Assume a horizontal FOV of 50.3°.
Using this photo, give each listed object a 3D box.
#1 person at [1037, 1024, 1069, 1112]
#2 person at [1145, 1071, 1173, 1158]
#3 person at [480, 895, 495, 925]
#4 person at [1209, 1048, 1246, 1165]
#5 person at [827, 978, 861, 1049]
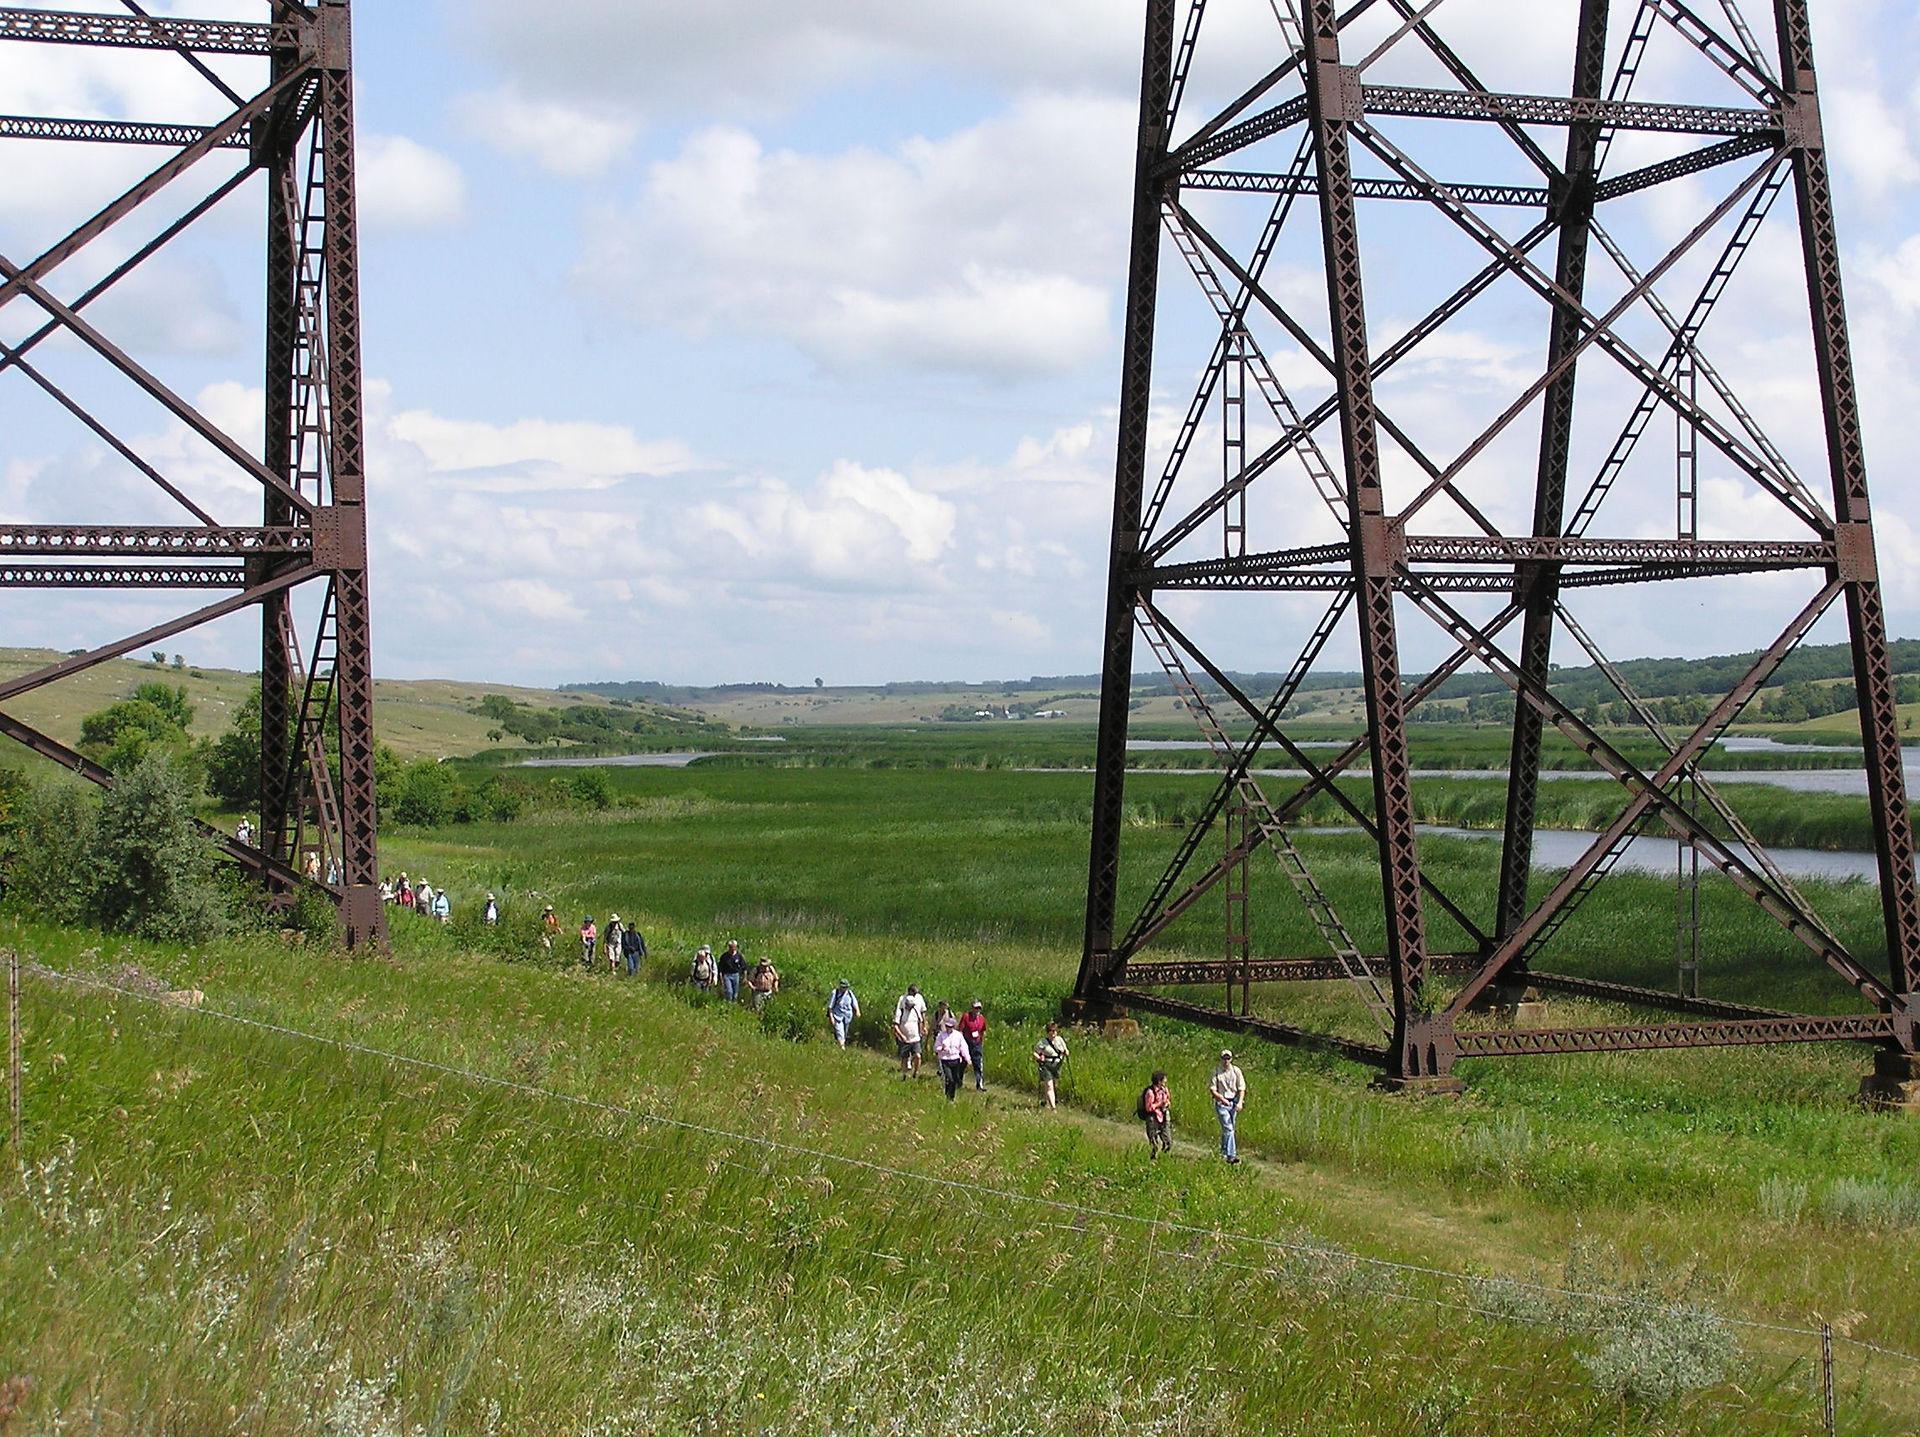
[{"bbox_3d":[1.450,5.728,33.865,0.396,1.334,1.452,6,0,5],"label":"person"},{"bbox_3d":[2.853,5.806,30.088,0.468,1.151,1.644,6,0,1],"label":"person"},{"bbox_3d":[-12.333,5.027,53.610,0.458,0.643,0.884,1,-3,-9],"label":"person"},{"bbox_3d":[3.989,5.752,30.901,0.481,1.649,2.277,6,-1,9],"label":"person"},{"bbox_3d":[-2.246,5.661,39.453,0.527,1.281,2.123,6,0,-2],"label":"person"}]
